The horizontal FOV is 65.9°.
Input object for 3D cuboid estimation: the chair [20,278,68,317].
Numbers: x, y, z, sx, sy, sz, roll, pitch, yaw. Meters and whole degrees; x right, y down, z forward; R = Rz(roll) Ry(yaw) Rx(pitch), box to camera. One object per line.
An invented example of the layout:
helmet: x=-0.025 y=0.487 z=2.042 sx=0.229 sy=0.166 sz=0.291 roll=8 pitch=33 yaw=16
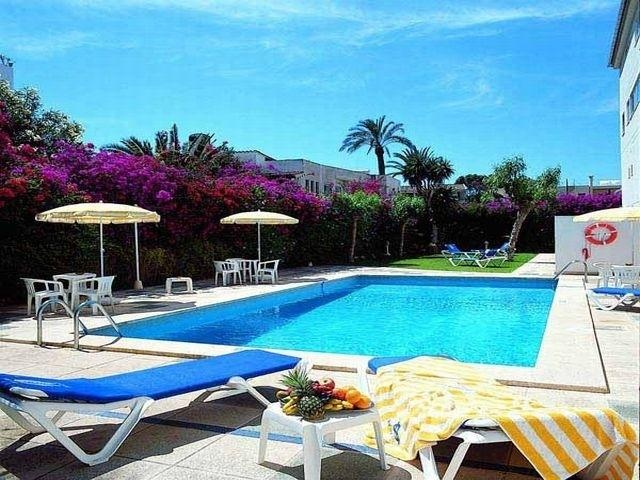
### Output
chair: x=-5.538 y=1.169 z=9.889 sx=0.843 sy=0.687 sz=0.860 roll=-2 pitch=4 yaw=-41

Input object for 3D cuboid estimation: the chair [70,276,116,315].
chair: x=-4.518 y=1.114 z=9.805 sx=0.939 sy=0.798 sz=0.867 roll=3 pitch=2 yaw=20

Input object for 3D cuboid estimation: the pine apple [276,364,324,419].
pine apple: x=-0.133 y=1.176 z=3.805 sx=0.310 sy=0.340 sz=0.275 roll=-4 pitch=8 yaw=-27

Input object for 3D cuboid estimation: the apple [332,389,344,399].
apple: x=0.140 y=1.203 z=3.872 sx=0.077 sy=0.049 sz=0.080 roll=0 pitch=1 yaw=32

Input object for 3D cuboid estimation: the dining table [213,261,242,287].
dining table: x=-2.833 y=1.037 z=15.266 sx=0.926 sy=0.921 sz=0.873 roll=-2 pitch=-1 yaw=27

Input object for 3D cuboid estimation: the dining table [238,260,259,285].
dining table: x=-2.184 y=1.013 z=16.126 sx=0.908 sy=0.769 sz=0.831 roll=0 pitch=-3 yaw=-27

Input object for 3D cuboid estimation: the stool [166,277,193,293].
stool: x=-3.759 y=1.184 z=13.217 sx=0.803 sy=0.343 sz=0.545 roll=0 pitch=-4 yaw=-10

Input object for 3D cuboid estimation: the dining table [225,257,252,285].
dining table: x=-2.444 y=0.991 z=16.179 sx=0.935 sy=0.969 sz=0.963 roll=-4 pitch=-4 yaw=35

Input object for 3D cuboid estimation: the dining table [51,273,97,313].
dining table: x=-5.030 y=1.042 z=10.253 sx=0.811 sy=0.771 sz=0.768 roll=4 pitch=5 yaw=41

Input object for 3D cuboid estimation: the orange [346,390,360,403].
orange: x=0.257 y=1.223 z=3.854 sx=0.106 sy=0.077 sz=0.087 roll=1 pitch=0 yaw=2
